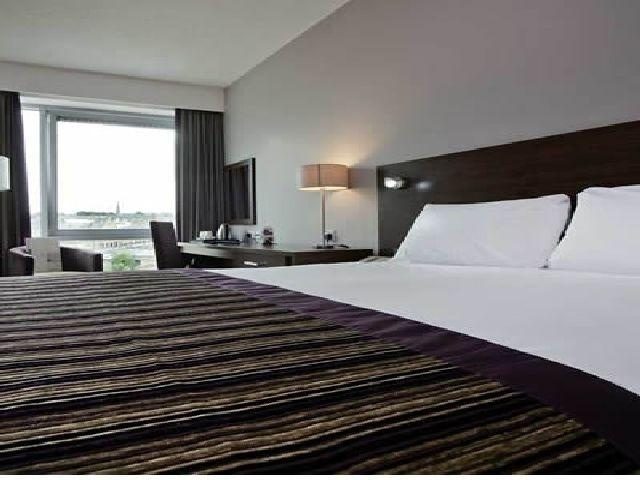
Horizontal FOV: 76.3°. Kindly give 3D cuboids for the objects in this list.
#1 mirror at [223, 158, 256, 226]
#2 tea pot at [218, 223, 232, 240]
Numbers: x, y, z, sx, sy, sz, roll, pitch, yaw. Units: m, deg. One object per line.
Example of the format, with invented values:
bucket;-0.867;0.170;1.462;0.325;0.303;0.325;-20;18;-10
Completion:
mirror;-1.106;-0.691;5.681;0.076;0.956;1.096;0;1;-29
tea pot;-1.314;-0.121;5.438;0.148;0.228;0.244;1;7;-17
